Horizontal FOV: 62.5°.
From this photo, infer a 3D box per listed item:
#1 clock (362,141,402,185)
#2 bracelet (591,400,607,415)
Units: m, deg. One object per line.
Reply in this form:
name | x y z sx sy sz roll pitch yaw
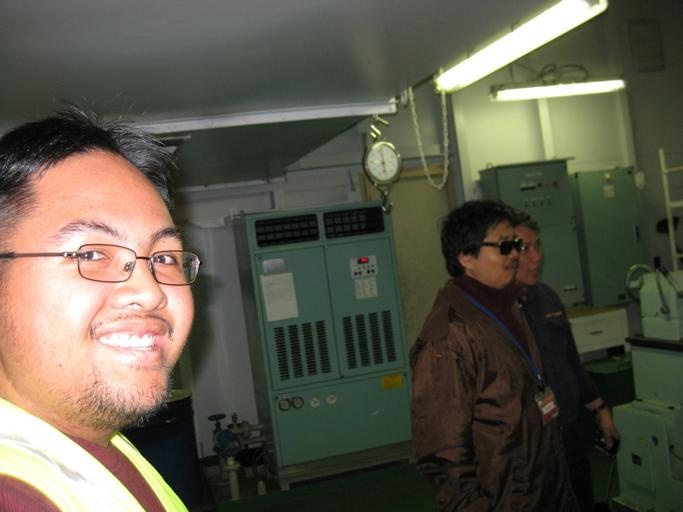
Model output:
clock | 0.291 -0.677 4.063 0.258 0.329 0.100 -1 3 -17
bracelet | 1.336 0.801 2.934 0.070 0.030 0.076 -25 -12 -30
